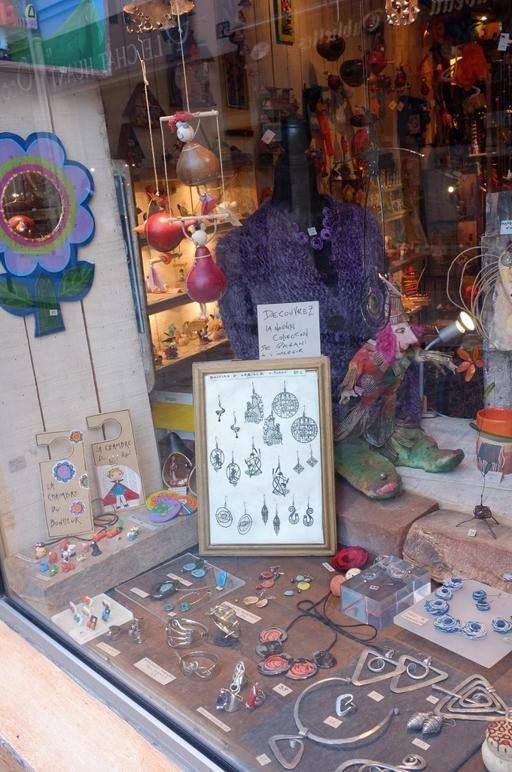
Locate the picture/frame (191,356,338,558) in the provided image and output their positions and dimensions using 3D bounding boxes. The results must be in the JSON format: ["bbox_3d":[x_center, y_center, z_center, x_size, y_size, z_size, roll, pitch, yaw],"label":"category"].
[{"bbox_3d":[0.024,0.184,1.501,0.510,0.638,0.045,-3,1,18],"label":"picture/frame"}]
